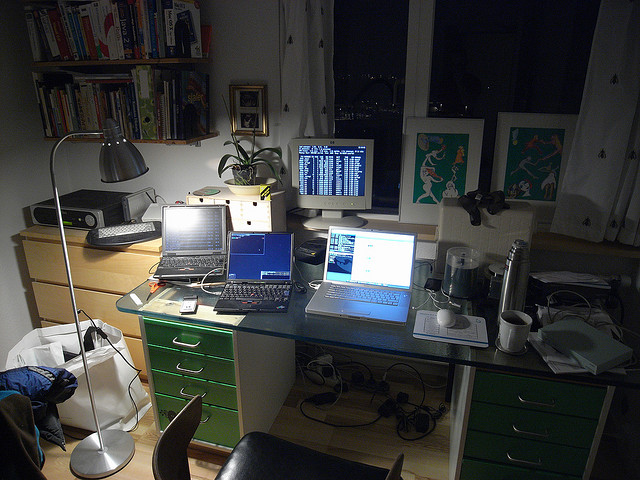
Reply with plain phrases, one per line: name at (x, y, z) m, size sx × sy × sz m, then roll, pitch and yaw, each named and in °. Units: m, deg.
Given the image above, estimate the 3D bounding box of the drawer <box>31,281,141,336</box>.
drawer at (-1.502, 0.441, 3.053) m, size 0.403 × 0.373 × 0.128 m, roll 1°, pitch 24°, yaw 10°

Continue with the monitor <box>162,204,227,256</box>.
monitor at (-0.772, -0.046, 2.840) m, size 0.314 × 0.246 × 0.027 m, roll -1°, pitch -1°, yaw -2°

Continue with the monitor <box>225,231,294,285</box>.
monitor at (-0.327, 0.095, 2.687) m, size 0.488 × 0.266 × 0.323 m, roll 1°, pitch 56°, yaw 0°

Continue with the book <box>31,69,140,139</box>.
book at (-1.574, -0.920, 3.270) m, size 0.703 × 0.418 × 0.263 m, roll -9°, pitch 0°, yaw -15°

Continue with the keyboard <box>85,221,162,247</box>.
keyboard at (-1.266, -0.039, 3.040) m, size 0.320 × 0.033 × 0.232 m, roll -7°, pitch 26°, yaw -15°

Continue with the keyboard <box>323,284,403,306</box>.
keyboard at (0.228, 0.290, 2.474) m, size 0.391 × 0.037 × 0.148 m, roll 3°, pitch 18°, yaw 11°

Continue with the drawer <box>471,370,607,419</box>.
drawer at (0.990, 0.690, 2.053) m, size 0.318 × 0.072 × 0.292 m, roll 5°, pitch 2°, yaw 15°

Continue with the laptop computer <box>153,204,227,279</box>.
laptop computer at (-0.753, 0.009, 2.704) m, size 0.397 × 0.328 × 0.312 m, roll 1°, pitch 22°, yaw -3°

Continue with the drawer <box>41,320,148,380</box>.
drawer at (-1.383, 0.672, 2.846) m, size 0.424 × 0.292 × 0.222 m, roll 7°, pitch 30°, yaw 13°

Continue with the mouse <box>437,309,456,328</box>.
mouse at (0.620, 0.373, 2.245) m, size 0.113 × 0.074 × 0.066 m, roll -6°, pitch 19°, yaw -16°

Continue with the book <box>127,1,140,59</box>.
book at (-1.157, -1.305, 2.905) m, size 0.046 × 0.324 × 0.033 m, roll -2°, pitch 19°, yaw -3°

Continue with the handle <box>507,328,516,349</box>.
handle at (0.850, 0.440, 2.080) m, size 0.028 × 0.105 × 0.009 m, roll 4°, pitch 19°, yaw 14°

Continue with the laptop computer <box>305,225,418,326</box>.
laptop computer at (0.220, 0.163, 2.423) m, size 0.517 × 0.297 × 0.455 m, roll 5°, pitch 25°, yaw 12°

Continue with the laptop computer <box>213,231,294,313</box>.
laptop computer at (-0.344, 0.183, 2.523) m, size 0.395 × 0.289 × 0.408 m, roll 3°, pitch 30°, yaw 5°

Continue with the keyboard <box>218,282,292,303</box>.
keyboard at (-0.343, 0.275, 2.507) m, size 0.363 × 0.044 × 0.165 m, roll 1°, pitch 18°, yaw 5°

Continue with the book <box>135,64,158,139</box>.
book at (-1.126, -0.887, 3.035) m, size 0.141 × 0.451 × 0.031 m, roll 7°, pitch 20°, yaw 22°

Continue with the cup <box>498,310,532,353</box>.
cup at (0.867, 0.412, 2.162) m, size 0.175 × 0.135 × 0.136 m, roll 23°, pitch 34°, yaw 34°

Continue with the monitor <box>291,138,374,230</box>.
monitor at (0.080, -0.373, 3.018) m, size 0.533 × 0.559 × 0.349 m, roll 3°, pitch 15°, yaw 13°
